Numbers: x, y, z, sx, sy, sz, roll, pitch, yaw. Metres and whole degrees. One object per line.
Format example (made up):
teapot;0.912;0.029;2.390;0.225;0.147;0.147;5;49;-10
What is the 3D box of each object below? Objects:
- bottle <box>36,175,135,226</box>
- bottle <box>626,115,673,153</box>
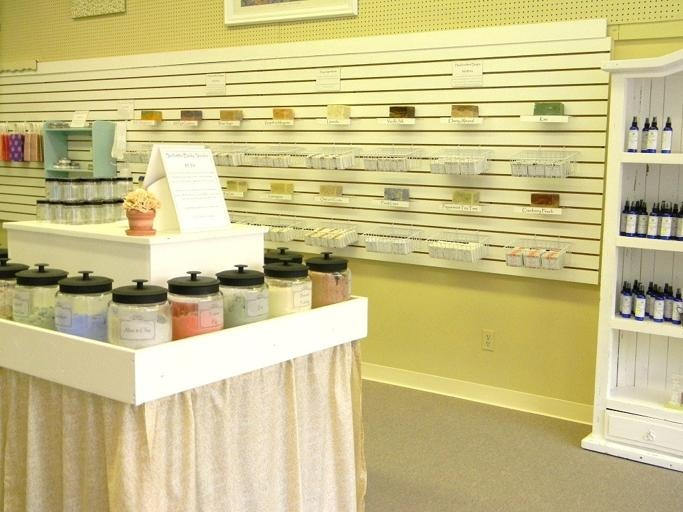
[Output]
bottle;-1.257;-0.266;2.686;0.326;0.145;0.415;-1;6;-16
bottle;2.076;-0.810;3.717;0.321;0.275;0.098;0;0;-9
